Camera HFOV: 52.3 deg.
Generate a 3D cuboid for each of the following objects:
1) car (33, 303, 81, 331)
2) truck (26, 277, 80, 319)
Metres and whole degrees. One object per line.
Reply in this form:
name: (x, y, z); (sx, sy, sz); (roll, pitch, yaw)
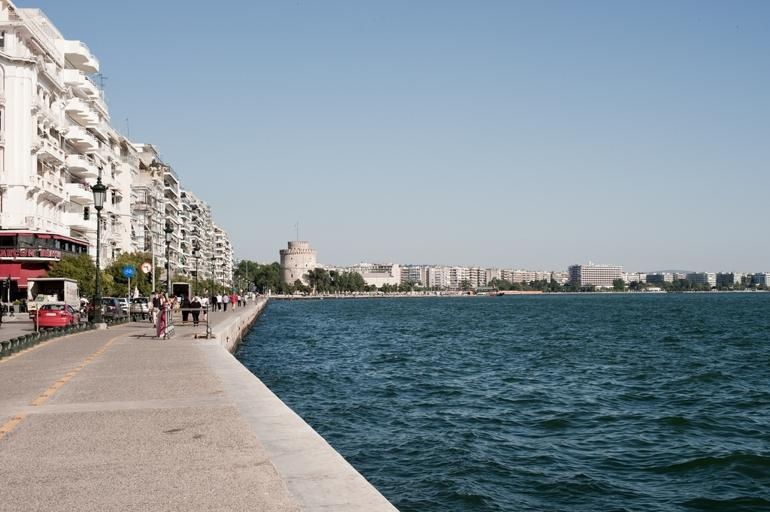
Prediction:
car: (-18.178, 3.317, 43.297); (1.985, 1.045, 3.888); (0, 1, -9)
truck: (-25.074, 3.082, 57.067); (4.076, 2.670, 8.714); (0, -1, -16)
